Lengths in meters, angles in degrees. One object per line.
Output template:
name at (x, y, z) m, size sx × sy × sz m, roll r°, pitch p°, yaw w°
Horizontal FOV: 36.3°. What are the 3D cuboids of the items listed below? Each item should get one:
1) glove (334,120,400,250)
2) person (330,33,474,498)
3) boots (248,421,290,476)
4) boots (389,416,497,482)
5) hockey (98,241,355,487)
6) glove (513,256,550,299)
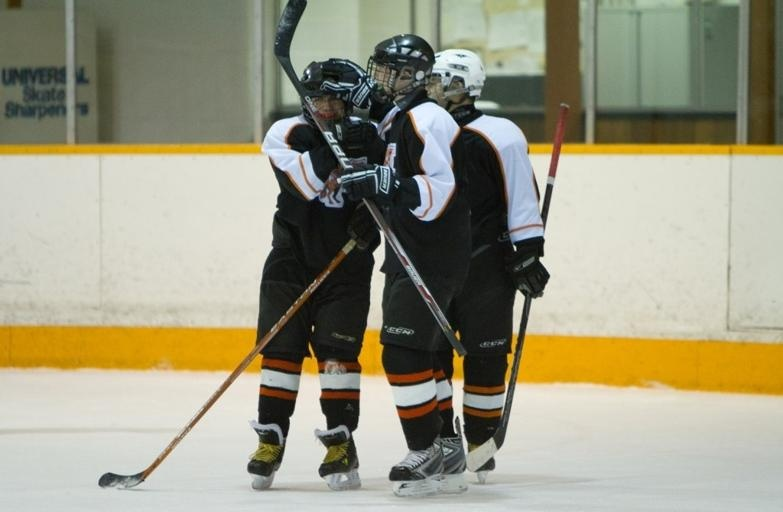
glove at (-0.161, -0.372, 6.360) m, size 0.484 × 0.604 × 0.169 m, roll -5°, pitch -1°, yaw 0°
person at (0.093, 0.042, 6.302) m, size 0.642 × 2.413 × 0.406 m, roll 0°, pitch 4°, yaw 2°
boots at (-0.663, 1.030, 6.371) m, size 0.139 × 0.265 × 0.392 m, roll -3°, pitch 11°, yaw 17°
boots at (0.353, 1.030, 6.407) m, size 0.796 × 0.351 × 0.242 m, roll 6°, pitch 10°, yaw -36°
hockey at (-0.952, 0.674, 7.190) m, size 1.926 × 0.321 × 0.155 m, roll -41°, pitch -4°, yaw 8°
glove at (0.744, 0.117, 6.422) m, size 0.224 × 0.209 × 0.091 m, roll -13°, pitch 15°, yaw -2°
